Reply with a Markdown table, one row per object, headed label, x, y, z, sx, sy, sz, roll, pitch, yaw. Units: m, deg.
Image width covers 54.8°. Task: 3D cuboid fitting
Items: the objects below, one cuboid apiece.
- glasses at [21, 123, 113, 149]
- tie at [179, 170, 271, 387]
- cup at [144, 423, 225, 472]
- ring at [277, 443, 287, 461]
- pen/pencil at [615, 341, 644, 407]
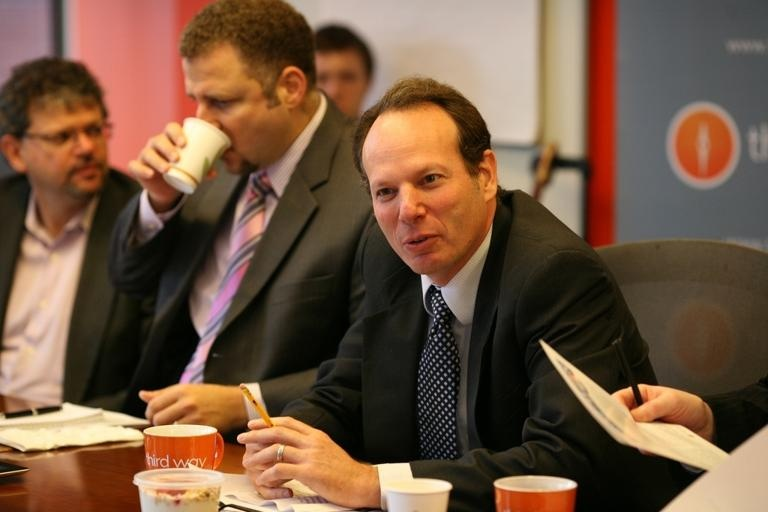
| label | x | y | z | sx | sy | sz | roll | pitch | yaw |
| --- | --- | --- | --- | --- | --- | --- | --- | --- | --- |
| glasses | -1.312 | -0.505 | 3.055 | 0.342 | 0.113 | 0.181 | 0 | 4 | -23 |
| tie | -0.556 | 0.107 | 2.614 | 0.131 | 0.846 | 0.128 | 21 | -34 | 1 |
| cup | -0.436 | 0.415 | 1.642 | 0.135 | 0.107 | 0.105 | 6 | -10 | -32 |
| ring | -0.230 | 0.447 | 1.666 | 0.011 | 0.032 | 0.023 | 2 | 31 | 8 |
| pen/pencil | 0.552 | 0.269 | 1.668 | 0.020 | 0.145 | 0.017 | 0 | -33 | -41 |
